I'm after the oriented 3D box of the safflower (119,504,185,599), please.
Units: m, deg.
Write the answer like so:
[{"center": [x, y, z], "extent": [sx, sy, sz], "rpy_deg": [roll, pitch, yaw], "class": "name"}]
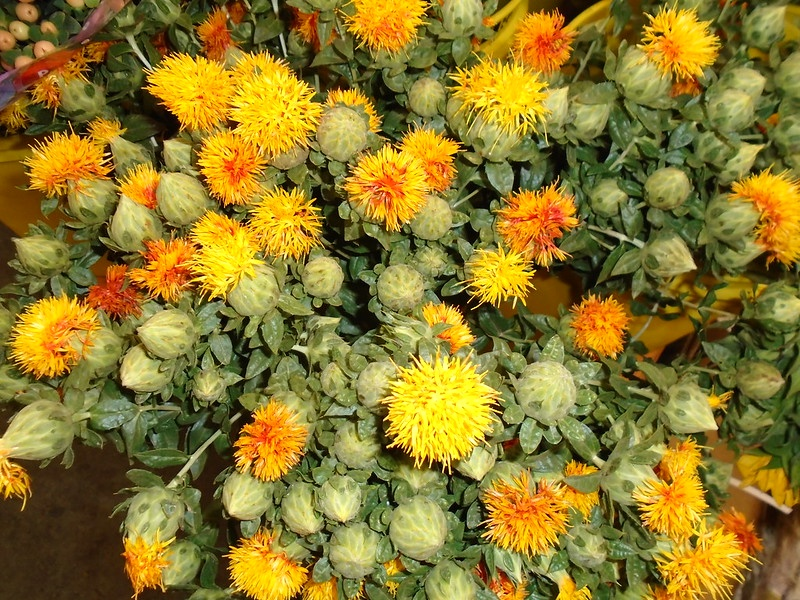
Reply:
[{"center": [-0.466, 0.446, 1.289], "extent": [0.134, 0.079, 0.137], "rpy_deg": [-14, 101, -14], "class": "safflower"}]
